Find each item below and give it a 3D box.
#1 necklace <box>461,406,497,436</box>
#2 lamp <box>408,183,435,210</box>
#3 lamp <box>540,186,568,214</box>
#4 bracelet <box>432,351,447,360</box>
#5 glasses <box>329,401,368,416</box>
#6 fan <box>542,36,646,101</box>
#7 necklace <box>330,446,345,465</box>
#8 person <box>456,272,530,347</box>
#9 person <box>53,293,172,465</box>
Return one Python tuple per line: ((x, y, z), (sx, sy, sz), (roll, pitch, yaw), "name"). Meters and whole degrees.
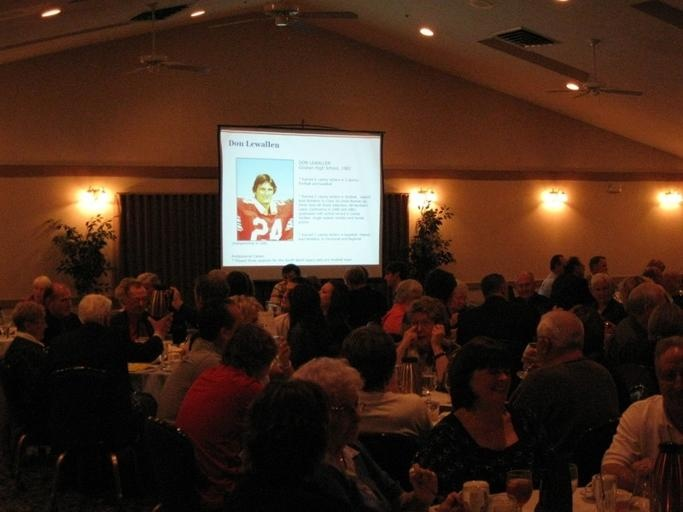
((0.715, 0.870, 3.535), (0.173, 0.182, 0.112), (3, -8, 7), "necklace")
((1.489, -1.008, 12.257), (0.534, 0.436, 0.095), (2, 0, -21), "lamp")
((4.060, -1.052, 12.863), (0.582, 0.444, 0.112), (2, 0, -20), "lamp")
((0.742, 0.744, 5.094), (0.083, 0.063, 0.084), (1, 1, 40), "bracelet")
((0.025, 0.738, 3.255), (0.135, 0.038, 0.136), (0, -4, 23), "glasses")
((3.661, -2.528, 9.929), (1.099, 0.778, 1.121), (5, 6, 40), "fan")
((-0.021, 0.953, 3.206), (0.077, 0.076, 0.079), (2, 5, 14), "necklace")
((1.225, 0.418, 5.648), (0.588, 0.736, 0.391), (-7, 40, 0), "person")
((-1.812, 0.896, 5.140), (0.763, 1.156, 0.834), (2, 0, -8), "person")
